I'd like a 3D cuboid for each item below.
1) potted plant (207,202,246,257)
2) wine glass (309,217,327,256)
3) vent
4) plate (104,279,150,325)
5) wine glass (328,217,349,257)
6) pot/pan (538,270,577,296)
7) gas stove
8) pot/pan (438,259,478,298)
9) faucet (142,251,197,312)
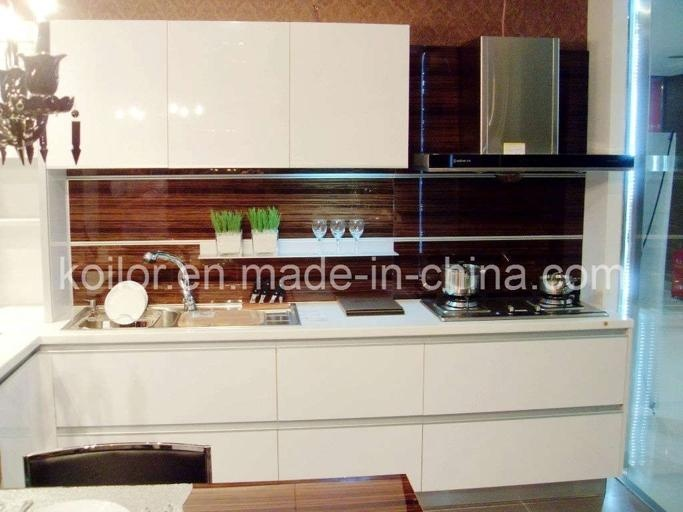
[{"bbox_3d":[-0.656,-0.145,3.593,0.277,0.416,0.290,0,1,-6],"label":"potted plant"},{"bbox_3d":[-0.133,-0.161,3.719,0.085,0.151,0.261,-4,6,1],"label":"wine glass"},{"bbox_3d":[1.055,-0.893,3.621,1.325,0.781,0.754,-2,4,-16],"label":"vent"},{"bbox_3d":[-1.320,0.299,3.572,0.238,0.263,0.135,-7,8,-24],"label":"plate"},{"bbox_3d":[-0.018,-0.125,3.754,0.113,0.230,0.284,-4,6,0],"label":"wine glass"},{"bbox_3d":[1.423,0.187,3.853,0.198,0.173,0.312,-1,7,24],"label":"pot/pan"},{"bbox_3d":[1.062,0.325,3.678,1.062,0.103,0.501,-4,6,-5],"label":"gas stove"},{"bbox_3d":[0.735,0.150,3.689,0.219,0.203,0.221,1,3,31],"label":"pot/pan"},{"bbox_3d":[-1.058,0.161,3.636,0.265,0.394,0.328,-5,7,-12],"label":"faucet"}]
